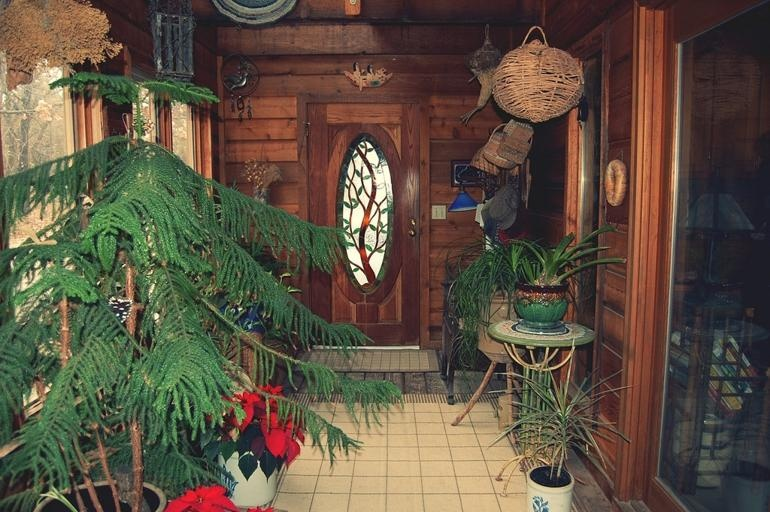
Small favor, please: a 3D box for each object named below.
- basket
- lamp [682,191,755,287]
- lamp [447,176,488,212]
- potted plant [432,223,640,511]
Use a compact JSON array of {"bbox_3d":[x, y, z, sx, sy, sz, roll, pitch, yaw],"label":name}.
[{"bbox_3d":[0.792,-0.870,3.589,0.381,0.486,0.435,14,-17,-3],"label":"basket"},{"bbox_3d":[1.420,-0.087,2.829,0.265,0.448,0.311,-1,11,5],"label":"lamp"},{"bbox_3d":[0.629,-0.489,5.087,0.249,0.299,0.279,-5,9,-2],"label":"lamp"},{"bbox_3d":[0.805,0.552,3.948,1.144,1.916,1.134,1,0,6],"label":"potted plant"}]
